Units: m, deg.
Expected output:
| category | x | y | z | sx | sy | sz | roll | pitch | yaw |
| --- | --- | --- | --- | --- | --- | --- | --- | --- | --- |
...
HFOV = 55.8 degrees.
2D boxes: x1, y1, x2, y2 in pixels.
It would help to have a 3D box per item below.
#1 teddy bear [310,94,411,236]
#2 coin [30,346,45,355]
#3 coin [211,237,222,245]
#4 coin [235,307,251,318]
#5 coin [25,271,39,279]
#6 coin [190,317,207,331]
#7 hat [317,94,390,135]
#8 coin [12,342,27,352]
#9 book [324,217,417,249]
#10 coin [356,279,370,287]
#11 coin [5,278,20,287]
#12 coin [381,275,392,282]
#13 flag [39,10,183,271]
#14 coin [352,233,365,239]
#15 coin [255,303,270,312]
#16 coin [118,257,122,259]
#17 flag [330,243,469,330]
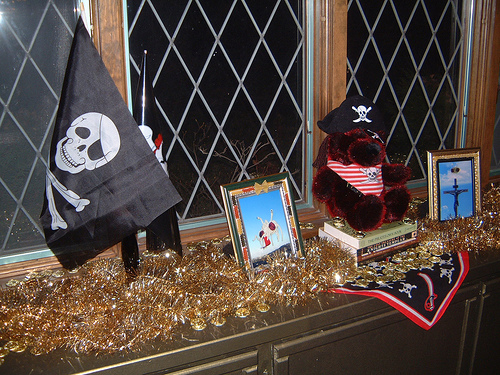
| category | x | y | z | sx | sy | sz | roll | pitch | yaw |
| --- | --- | --- | --- | --- | --- | --- | --- | --- | --- |
| teddy bear | 0.448 | -0.106 | 1.913 | 0.367 | 0.548 | 0.370 | -2 | 6 | 9 |
| coin | -0.661 | 0.508 | 1.470 | 0.042 | 0.020 | 0.016 | -9 | 7 | 10 |
| coin | -0.140 | 0.223 | 1.983 | 0.044 | 0.012 | 0.069 | -12 | 9 | -6 |
| coin | -0.023 | 0.425 | 1.606 | 0.055 | 0.026 | 0.030 | -11 | 8 | -7 |
| coin | -0.807 | 0.324 | 1.746 | 0.039 | 0.020 | 0.042 | -10 | 9 | 2 |
| coin | -0.171 | 0.450 | 1.558 | 0.052 | 0.022 | 0.037 | -10 | 8 | 5 |
| hat | 0.413 | -0.289 | 1.912 | 0.195 | 0.139 | 0.156 | 3 | 10 | -2 |
| coin | -0.718 | 0.499 | 1.479 | 0.029 | 0.023 | 0.022 | -8 | 8 | 9 |
| book | 0.478 | 0.178 | 1.927 | 0.197 | 0.045 | 0.140 | -13 | 18 | -32 |
| coin | 0.415 | 0.349 | 1.734 | 0.047 | 0.018 | 0.036 | -9 | 9 | 12 |
| coin | -0.865 | 0.345 | 1.721 | 0.045 | 0.022 | 0.066 | -16 | 10 | -32 |
| coin | 0.509 | 0.336 | 1.757 | 0.020 | 0.006 | 0.022 | -5 | 16 | -8 |
| flag | -0.485 | -0.147 | 1.538 | 0.445 | 0.588 | 0.099 | -8 | 6 | 4 |
| coin | 0.424 | 0.192 | 1.851 | 0.048 | 0.017 | 0.025 | -8 | 8 | 18 |
| coin | 0.043 | 0.410 | 1.621 | 0.025 | 0.008 | 0.027 | 1 | 19 | 0 |
| coin | -0.505 | 0.273 | 1.832 | 0.009 | 0.003 | 0.009 | 0 | 14 | 0 |
| flag | 0.623 | 0.373 | 1.735 | 0.382 | 0.016 | 0.258 | -17 | 33 | -10 |
